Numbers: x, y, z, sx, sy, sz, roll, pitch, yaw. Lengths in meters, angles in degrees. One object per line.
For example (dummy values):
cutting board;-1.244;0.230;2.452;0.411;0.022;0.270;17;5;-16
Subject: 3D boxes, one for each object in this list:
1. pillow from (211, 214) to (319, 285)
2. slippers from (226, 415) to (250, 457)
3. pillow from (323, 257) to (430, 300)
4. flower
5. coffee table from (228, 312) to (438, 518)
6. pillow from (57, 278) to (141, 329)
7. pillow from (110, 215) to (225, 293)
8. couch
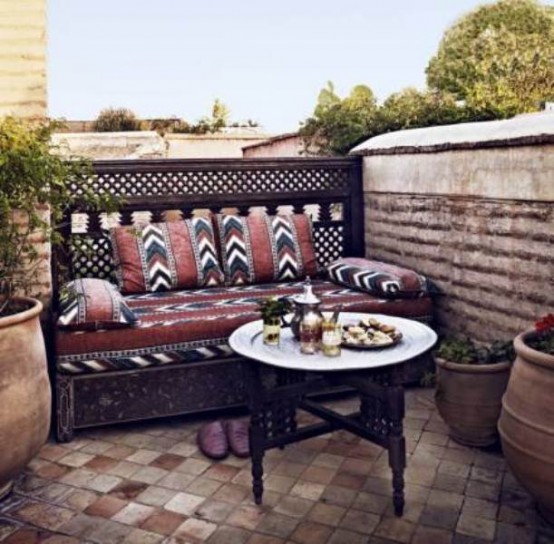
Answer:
pillow;-0.116;-0.231;4.351;0.933;0.551;0.504;0;10;-18
slippers;-0.225;0.940;2.953;0.108;0.084;0.287;-1;2;-12
pillow;0.671;0.003;3.897;0.839;0.239;1.043;-5;8;-40
flower;1.019;0.650;3.005;0.507;0.568;0.439;1;11;-4
coffee table;0.271;0.567;2.648;1.139;0.820;0.988;0;10;-14
pillow;-1.107;0.181;3.166;0.423;0.168;0.637;-5;22;-23
pillow;-0.916;-0.210;4.150;1.064;0.591;0.612;-3;8;-23
couch;-0.267;0.162;3.413;2.378;1.291;0.828;-3;9;-18
